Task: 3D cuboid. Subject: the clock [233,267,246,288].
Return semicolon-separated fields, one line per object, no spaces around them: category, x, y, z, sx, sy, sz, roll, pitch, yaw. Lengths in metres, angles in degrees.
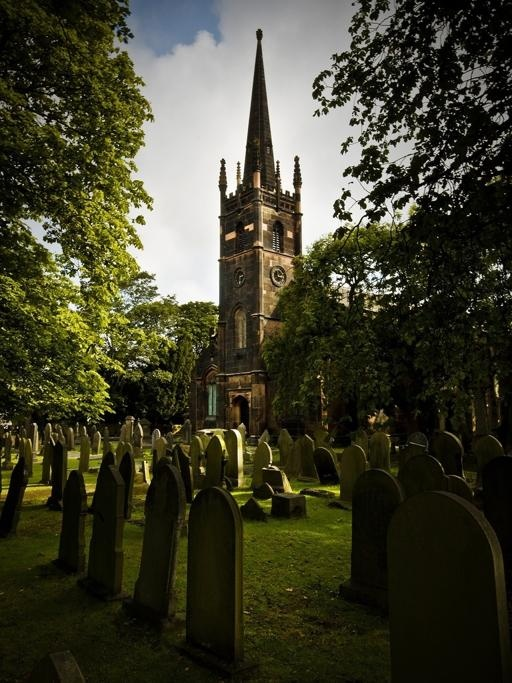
clock;-0.879;-3.323;31.797;0.167;1.324;1.131;0;0;-32

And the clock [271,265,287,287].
clock;1.184;-3.350;31.391;0.229;1.219;1.275;-5;-11;39
